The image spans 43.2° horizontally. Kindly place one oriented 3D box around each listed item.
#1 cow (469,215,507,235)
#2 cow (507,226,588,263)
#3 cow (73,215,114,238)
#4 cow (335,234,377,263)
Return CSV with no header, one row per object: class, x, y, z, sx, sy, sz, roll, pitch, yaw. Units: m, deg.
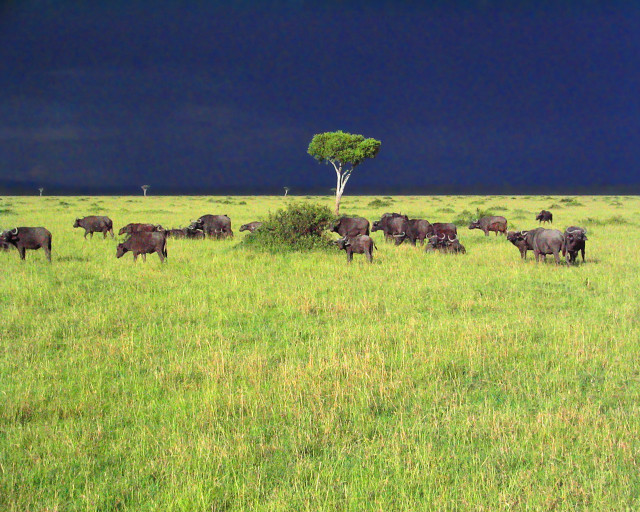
cow,7.955,-1.417,37.930,2.081,1.302,0.787,3,3,37
cow,7.283,-0.356,25.490,0.962,1.430,2.588,-1,5,-26
cow,-9.851,-1.195,35.217,1.755,0.978,1.298,3,12,17
cow,1.161,-0.208,25.790,0.667,0.852,1.515,-9,14,-37
